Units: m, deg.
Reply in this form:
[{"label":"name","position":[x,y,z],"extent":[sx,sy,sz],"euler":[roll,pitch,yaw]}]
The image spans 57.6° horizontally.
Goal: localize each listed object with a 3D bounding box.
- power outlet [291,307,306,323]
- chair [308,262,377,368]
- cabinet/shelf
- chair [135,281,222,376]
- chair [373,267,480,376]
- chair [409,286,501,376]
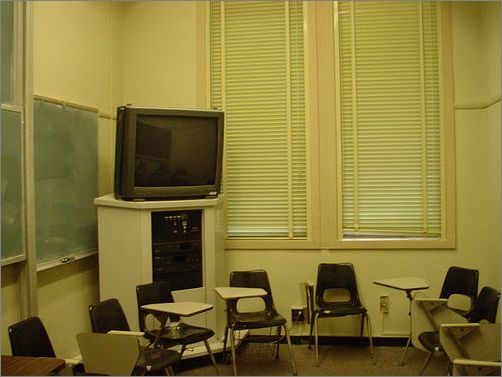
[{"label":"power outlet","position":[0.553,1.473,5.307],"extent":[0.148,0.163,0.157],"euler":[0,1,11]},{"label":"chair","position":[1.013,1.367,5.018],"extent":[0.729,0.954,0.678],"euler":[0,7,7]},{"label":"cabinet/shelf","position":[-1.109,1.008,5.072],"extent":[0.970,1.697,1.235],"euler":[-3,-2,33]},{"label":"chair","position":[-0.795,1.285,4.367],"extent":[0.738,1.082,0.649],"euler":[-12,-13,40]},{"label":"chair","position":[1.859,1.383,5.026],"extent":[0.989,1.160,1.027],"euler":[0,-5,5]},{"label":"chair","position":[1.895,1.296,4.452],"extent":[0.706,1.005,0.801],"euler":[2,-14,7]}]
